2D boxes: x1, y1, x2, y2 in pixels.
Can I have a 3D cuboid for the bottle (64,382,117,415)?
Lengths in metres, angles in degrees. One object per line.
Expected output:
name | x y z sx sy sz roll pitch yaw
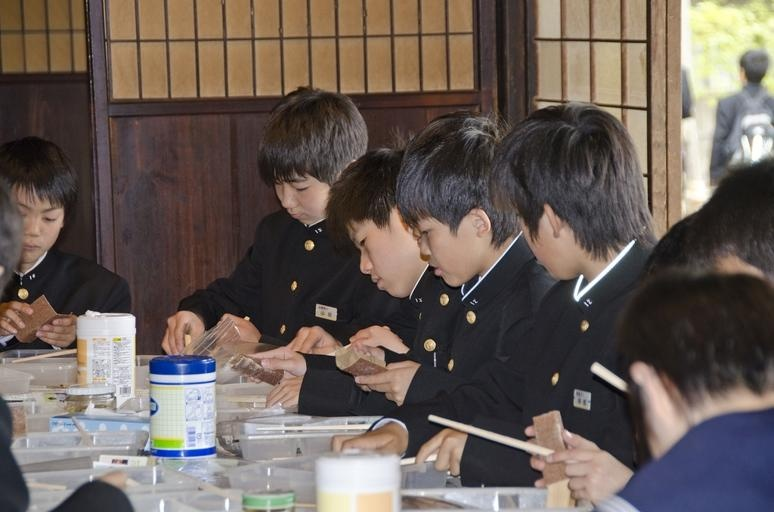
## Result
bottle | -0.712 0.332 1.897 0.073 0.064 0.074 1 -1 8

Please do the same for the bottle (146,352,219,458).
bottle | -0.414 0.318 1.720 0.177 0.202 0.178 0 -2 -12
